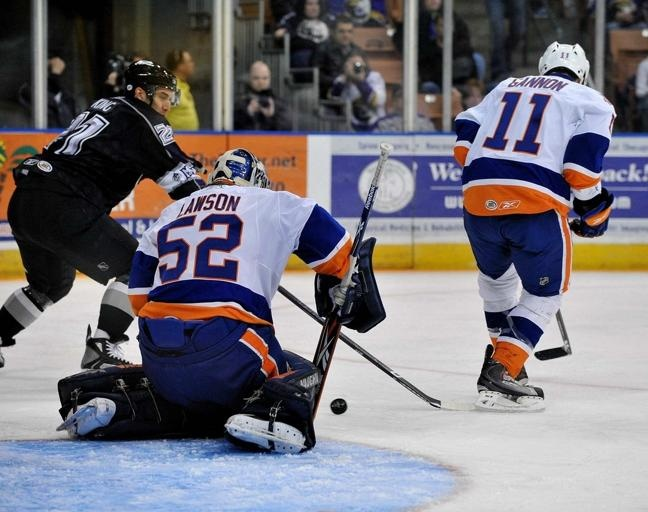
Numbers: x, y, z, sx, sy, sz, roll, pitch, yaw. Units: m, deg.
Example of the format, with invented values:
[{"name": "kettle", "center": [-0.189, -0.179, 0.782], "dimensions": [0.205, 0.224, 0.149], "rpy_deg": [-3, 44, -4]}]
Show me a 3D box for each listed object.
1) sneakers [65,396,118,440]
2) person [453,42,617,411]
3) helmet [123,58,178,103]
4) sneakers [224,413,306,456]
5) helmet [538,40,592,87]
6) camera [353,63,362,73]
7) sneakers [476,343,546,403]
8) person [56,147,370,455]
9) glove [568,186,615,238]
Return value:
[{"name": "sneakers", "center": [-0.923, 0.644, 4.209], "dimensions": [0.208, 0.118, 0.092], "rpy_deg": [-27, -3, 4]}, {"name": "person", "center": [0.992, -0.084, 4.981], "dimensions": [0.751, 1.533, 0.610], "rpy_deg": [1, 7, 7]}, {"name": "helmet", "center": [-0.874, -0.879, 5.254], "dimensions": [0.249, 0.207, 0.187], "rpy_deg": [-2, 6, -10]}, {"name": "sneakers", "center": [-0.214, 0.684, 4.042], "dimensions": [0.372, 0.120, 0.128], "rpy_deg": [7, -6, -8]}, {"name": "helmet", "center": [1.229, -0.973, 5.300], "dimensions": [0.227, 0.255, 0.263], "rpy_deg": [7, 17, 13]}, {"name": "camera", "center": [0.275, -1.533, 8.570], "dimensions": [0.046, 0.057, 0.060], "rpy_deg": [-1, 0, 5]}, {"name": "sneakers", "center": [0.890, 0.557, 4.996], "dimensions": [0.303, 0.181, 0.405], "rpy_deg": [1, 7, 9]}, {"name": "person", "center": [-0.299, 0.169, 4.624], "dimensions": [1.601, 1.432, 1.018], "rpy_deg": [1, -11, 22]}, {"name": "glove", "center": [1.314, -0.221, 5.149], "dimensions": [0.149, 0.205, 0.252], "rpy_deg": [20, -29, -21]}]
